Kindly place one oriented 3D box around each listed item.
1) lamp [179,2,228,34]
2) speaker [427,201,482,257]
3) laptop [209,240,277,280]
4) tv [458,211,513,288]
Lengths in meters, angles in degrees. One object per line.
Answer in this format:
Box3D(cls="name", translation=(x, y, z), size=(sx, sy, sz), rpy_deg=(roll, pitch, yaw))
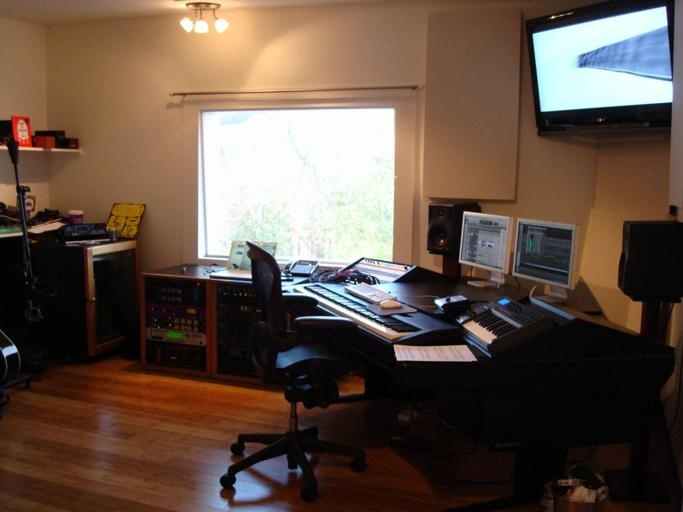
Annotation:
Box3D(cls="lamp", translation=(-1.123, -1.936, 4.268), size=(0.354, 0.200, 0.355), rpy_deg=(6, 5, 12))
Box3D(cls="speaker", translation=(0.781, -0.210, 3.940), size=(0.451, 0.444, 0.247), rpy_deg=(-3, 7, -41))
Box3D(cls="laptop", translation=(-0.796, -0.056, 4.238), size=(0.413, 0.258, 0.372), rpy_deg=(3, 9, 21))
Box3D(cls="tv", translation=(1.014, -0.050, 3.705), size=(0.249, 0.563, 0.515), rpy_deg=(-3, 5, -35))
